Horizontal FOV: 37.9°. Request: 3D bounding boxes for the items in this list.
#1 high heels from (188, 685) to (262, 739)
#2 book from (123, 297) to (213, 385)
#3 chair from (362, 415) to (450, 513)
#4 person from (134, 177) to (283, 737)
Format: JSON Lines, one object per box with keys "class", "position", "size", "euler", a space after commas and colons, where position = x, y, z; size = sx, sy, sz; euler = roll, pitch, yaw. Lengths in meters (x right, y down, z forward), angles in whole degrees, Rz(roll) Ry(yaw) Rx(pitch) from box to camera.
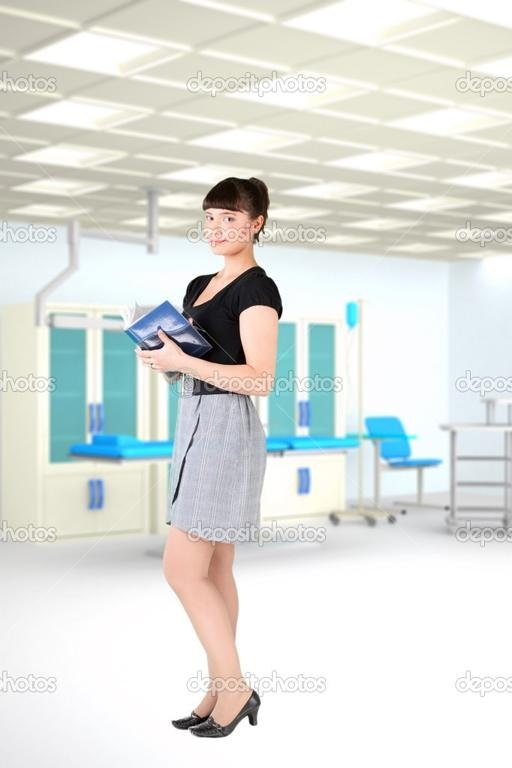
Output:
{"class": "high heels", "position": [-0.044, 0.487, 1.116], "size": [0.147, 0.062, 0.052], "euler": [3, -14, -25]}
{"class": "book", "position": [-0.124, -0.070, 0.998], "size": [0.101, 0.056, 0.143], "euler": [0, -5, 9]}
{"class": "chair", "position": [0.403, 0.198, 2.121], "size": [0.211, 0.281, 0.247], "euler": [2, -7, -29]}
{"class": "person", "position": [-0.065, 0.120, 1.111], "size": [0.196, 0.855, 0.270], "euler": [1, -6, 1]}
